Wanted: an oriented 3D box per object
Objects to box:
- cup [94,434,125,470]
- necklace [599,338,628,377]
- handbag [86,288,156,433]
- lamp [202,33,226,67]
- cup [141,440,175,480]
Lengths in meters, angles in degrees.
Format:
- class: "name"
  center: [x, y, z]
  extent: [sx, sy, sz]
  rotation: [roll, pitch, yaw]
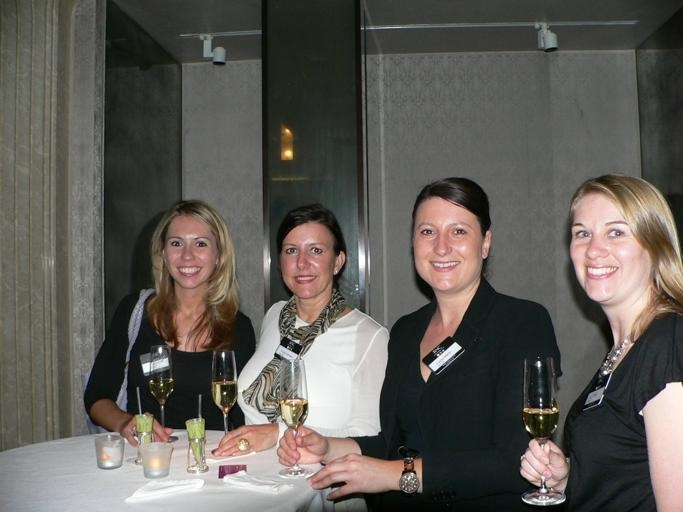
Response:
- class: "cup"
  center: [-1.054, 0.884, 2.883]
  extent: [0.136, 0.158, 0.142]
  rotation: [2, -2, 0]
- class: "necklace"
  center: [1.193, 0.433, 2.714]
  extent: [0.035, 0.154, 0.122]
  rotation: [32, -16, 4]
- class: "handbag"
  center: [-1.287, 0.606, 3.818]
  extent: [0.253, 0.761, 0.522]
  rotation: [-1, -9, 39]
- class: "lamp"
  center: [-1.331, -2.154, 6.498]
  extent: [0.232, 0.291, 0.247]
  rotation: [-4, 12, -13]
- class: "cup"
  center: [-0.832, 0.915, 2.785]
  extent: [0.166, 0.132, 0.151]
  rotation: [3, -24, -20]
